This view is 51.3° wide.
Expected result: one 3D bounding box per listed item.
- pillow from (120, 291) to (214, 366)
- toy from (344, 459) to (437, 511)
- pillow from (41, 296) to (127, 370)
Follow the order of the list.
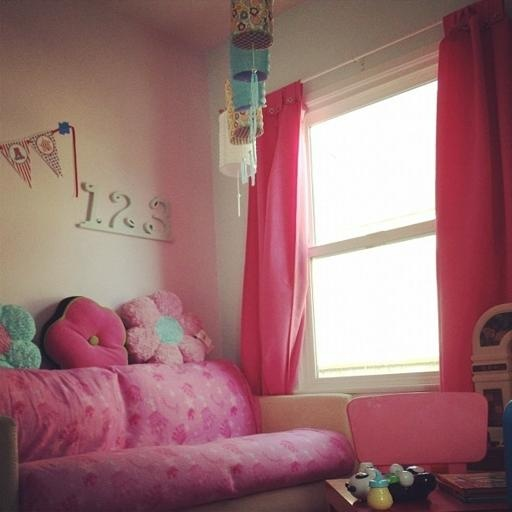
[{"bbox_3d":[-0.458,0.440,2.778,0.430,0.477,0.173,11,-45,-32],"label":"pillow"},{"bbox_3d":[0.361,0.613,1.432,0.155,0.076,0.124,1,-12,-1],"label":"toy"},{"bbox_3d":[-0.716,0.334,2.452,0.349,0.411,0.115,-7,19,-11],"label":"pillow"}]
